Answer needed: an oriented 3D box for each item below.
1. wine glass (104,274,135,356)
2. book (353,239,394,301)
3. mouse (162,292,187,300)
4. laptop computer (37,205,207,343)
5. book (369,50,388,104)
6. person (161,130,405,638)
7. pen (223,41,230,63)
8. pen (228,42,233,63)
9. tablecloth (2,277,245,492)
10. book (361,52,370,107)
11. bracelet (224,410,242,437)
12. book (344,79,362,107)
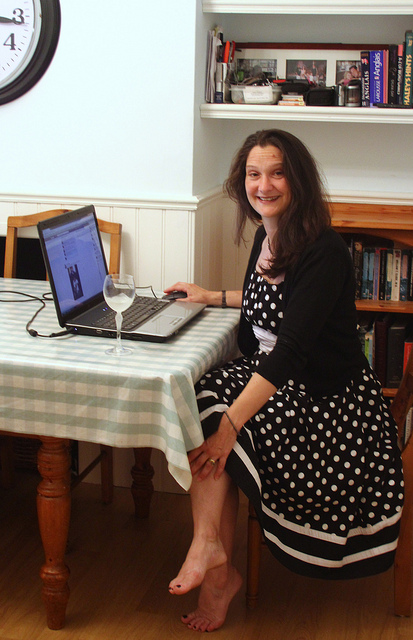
[{"bbox_3d":[-0.188,-0.018,1.071,0.063,0.160,0.219,1,4,-11],"label":"wine glass"},{"bbox_3d":[0.666,-0.188,1.987,0.169,0.234,0.237,1,12,6],"label":"book"},{"bbox_3d":[-0.090,-0.070,1.438,0.048,0.013,0.029,-6,9,-15],"label":"mouse"},{"bbox_3d":[-0.218,-0.121,1.242,0.360,0.246,0.362,14,19,19],"label":"laptop computer"},{"bbox_3d":[0.632,-0.894,1.823,0.051,0.149,0.152,1,23,13],"label":"book"},{"bbox_3d":[0.138,0.144,1.215,0.568,1.157,0.628,1,4,-18],"label":"person"},{"bbox_3d":[0.079,-1.041,1.937,0.017,0.087,0.011,2,-7,7],"label":"pen"},{"bbox_3d":[0.090,-1.052,1.967,0.011,0.086,0.009,9,8,-39],"label":"pen"},{"bbox_3d":[-0.196,0.108,0.959,0.512,0.126,0.527,4,19,10],"label":"tablecloth"},{"bbox_3d":[0.587,-0.888,1.837,0.037,0.194,0.034,3,4,18],"label":"book"},{"bbox_3d":[0.050,0.200,0.958,0.011,0.035,0.030,-35,7,1],"label":"bracelet"},{"bbox_3d":[0.547,-0.844,1.856,0.053,0.101,0.095,4,15,19],"label":"book"}]
